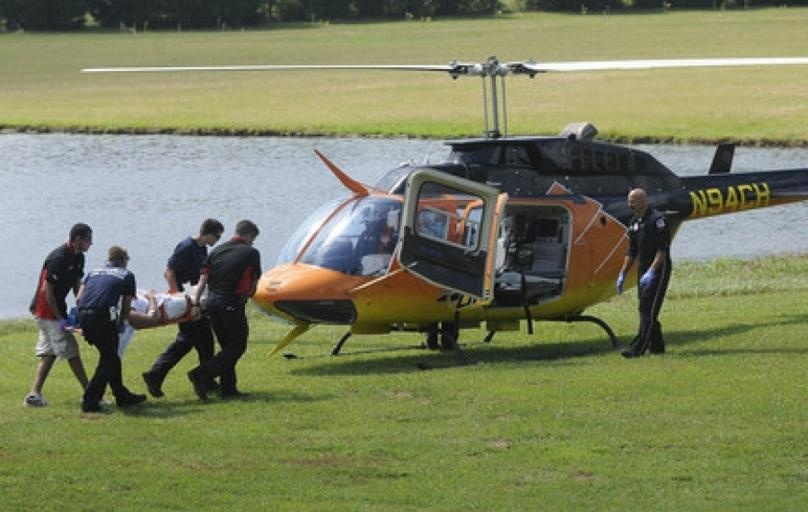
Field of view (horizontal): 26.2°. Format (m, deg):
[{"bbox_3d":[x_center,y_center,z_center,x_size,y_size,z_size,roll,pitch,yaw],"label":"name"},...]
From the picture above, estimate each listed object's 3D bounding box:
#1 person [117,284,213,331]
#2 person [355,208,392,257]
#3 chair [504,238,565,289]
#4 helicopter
[{"bbox_3d":[-7.139,1.430,51.248,2.283,0.593,1.162,-11,3,-25],"label":"person"},{"bbox_3d":[-0.996,-0.790,52.105,1.109,1.365,0.209,-3,6,-2],"label":"person"},{"bbox_3d":[3.913,0.147,53.447,2.509,1.653,1.082,1,-1,-15],"label":"chair"},{"bbox_3d":[4.057,-0.992,54.339,16.043,4.051,13.511,-1,2,-27],"label":"helicopter"}]
